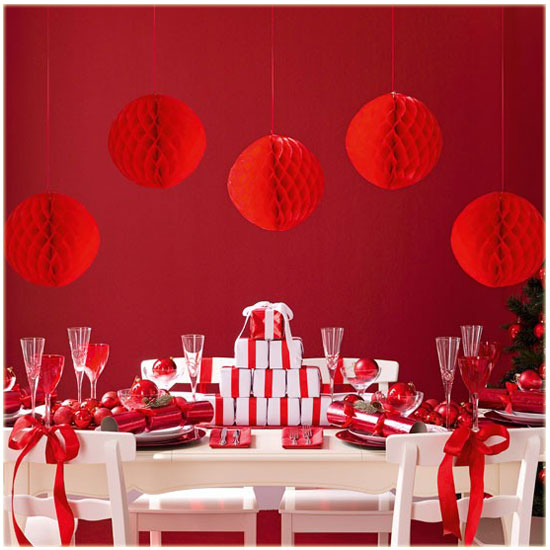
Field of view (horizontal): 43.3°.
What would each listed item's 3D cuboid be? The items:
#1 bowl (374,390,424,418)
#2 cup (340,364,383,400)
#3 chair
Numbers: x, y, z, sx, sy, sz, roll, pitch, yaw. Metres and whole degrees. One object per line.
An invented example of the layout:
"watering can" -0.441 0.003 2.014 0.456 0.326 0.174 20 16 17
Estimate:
"bowl" 0.387 0.392 2.111 0.088 0.082 0.100 -2 -3 21
"cup" 0.291 0.338 2.271 0.099 0.150 0.114 0 -6 -1
"chair" -0.032 0.597 1.924 1.507 0.387 0.529 -3 -13 0
